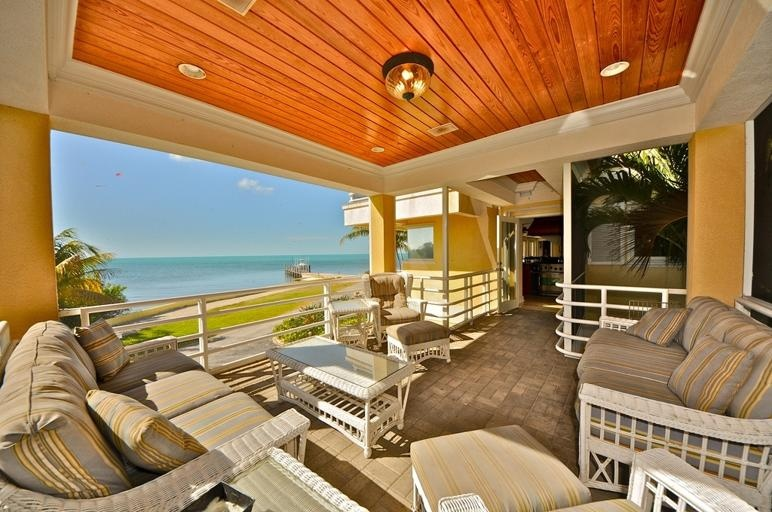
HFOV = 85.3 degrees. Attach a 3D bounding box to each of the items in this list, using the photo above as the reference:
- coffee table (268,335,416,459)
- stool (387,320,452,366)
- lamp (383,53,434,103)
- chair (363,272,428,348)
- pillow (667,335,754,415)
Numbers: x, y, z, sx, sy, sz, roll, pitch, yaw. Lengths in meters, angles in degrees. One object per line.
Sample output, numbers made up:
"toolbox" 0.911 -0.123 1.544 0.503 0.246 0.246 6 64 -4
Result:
"coffee table" -0.499 1.324 4.137 1.577 0.592 0.717 5 10 41
"stool" 0.319 1.152 5.180 0.764 0.425 0.781 -9 -6 39
"lamp" 0.221 -1.678 4.065 0.541 0.287 0.524 -2 -6 12
"chair" 0.083 0.706 5.767 0.834 0.865 0.783 -6 7 -39
"pillow" 2.507 0.930 3.255 0.158 0.508 0.477 24 42 8
